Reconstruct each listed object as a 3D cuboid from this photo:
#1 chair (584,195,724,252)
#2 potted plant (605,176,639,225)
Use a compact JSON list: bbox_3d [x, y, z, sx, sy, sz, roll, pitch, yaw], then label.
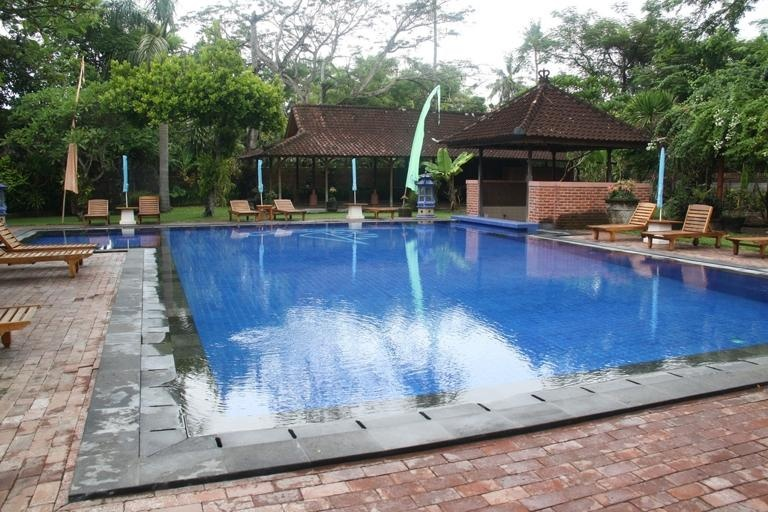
[{"bbox_3d":[8.462,-0.956,14.339,2.692,1.236,2.985,0,10,-5],"label":"chair"},{"bbox_3d":[9.265,-2.043,18.340,1.484,1.538,1.275,0,7,-4],"label":"potted plant"}]
